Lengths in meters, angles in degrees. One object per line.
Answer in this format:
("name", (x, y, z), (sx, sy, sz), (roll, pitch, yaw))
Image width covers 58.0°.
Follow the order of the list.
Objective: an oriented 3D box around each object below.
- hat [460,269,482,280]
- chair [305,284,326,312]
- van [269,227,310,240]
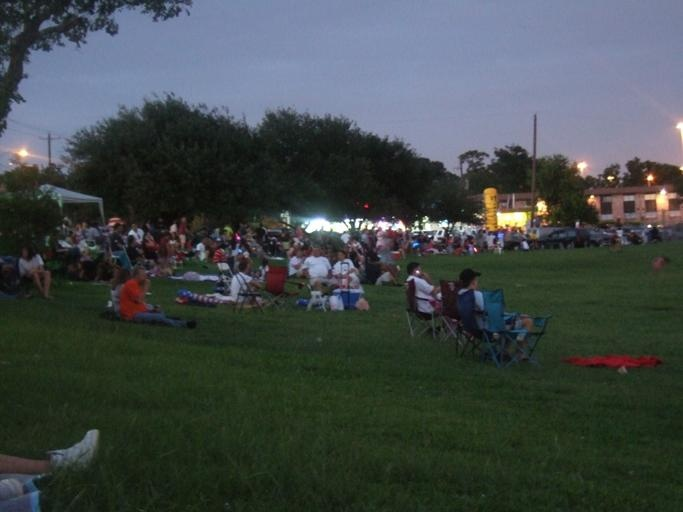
("hat", (2.324, 0.363, 11.129), (0.264, 0.204, 0.401), (4, 19, 44))
("chair", (-0.634, 1.084, 15.982), (0.453, 0.830, 0.687), (0, -4, -8))
("van", (-3.236, -1.435, 37.467), (2.295, 0.730, 1.607), (1, 0, -16))
